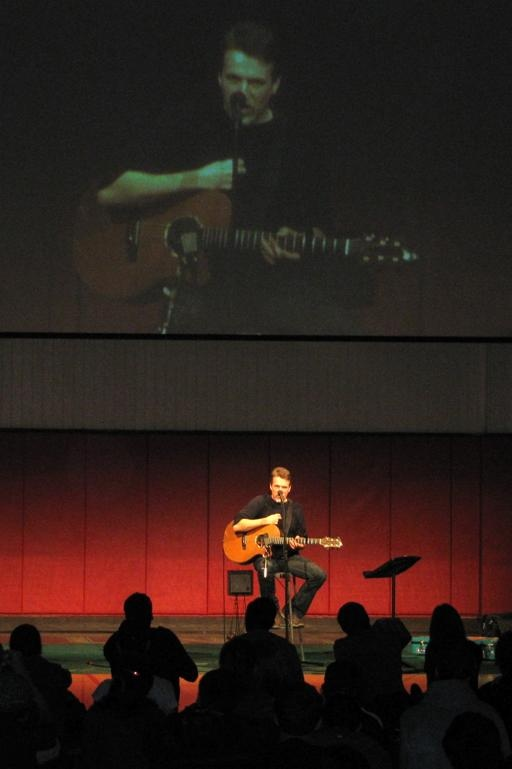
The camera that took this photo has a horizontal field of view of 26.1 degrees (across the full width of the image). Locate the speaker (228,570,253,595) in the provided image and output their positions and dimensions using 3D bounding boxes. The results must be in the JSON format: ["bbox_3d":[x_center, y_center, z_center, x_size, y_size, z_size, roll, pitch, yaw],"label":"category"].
[{"bbox_3d":[-0.113,1.354,7.540,0.156,0.157,0.080,0,-10,-4],"label":"speaker"}]

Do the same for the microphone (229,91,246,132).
[{"bbox_3d":[-0.136,-1.966,7.990,0.119,0.265,0.061,-1,-11,4],"label":"microphone"}]

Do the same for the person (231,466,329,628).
[{"bbox_3d":[0.192,1.084,7.453,0.604,1.086,0.862,4,-12,-21],"label":"person"}]
